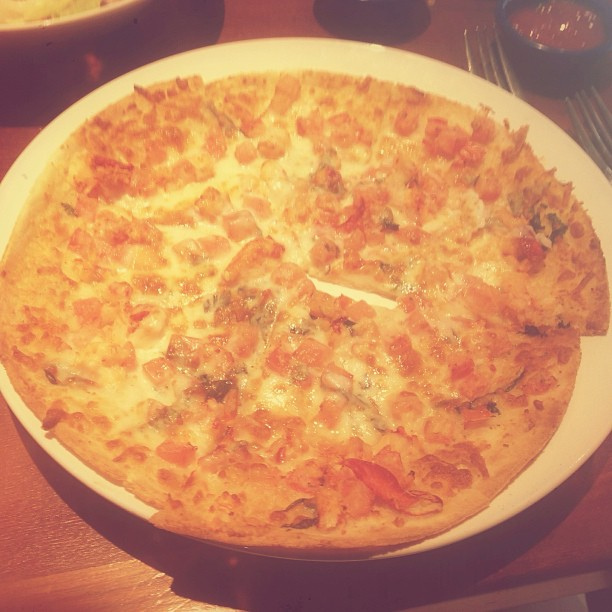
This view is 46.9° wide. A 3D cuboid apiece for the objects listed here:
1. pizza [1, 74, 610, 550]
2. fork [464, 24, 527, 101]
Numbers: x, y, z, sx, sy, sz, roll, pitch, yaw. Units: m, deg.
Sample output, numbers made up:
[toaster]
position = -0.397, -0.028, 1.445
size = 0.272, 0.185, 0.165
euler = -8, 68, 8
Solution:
[pizza]
position = 0.002, -0.035, 0.794
size = 0.675, 0.200, 0.588
euler = 12, 76, 4
[fork]
position = 0.272, -0.340, 0.993
size = 0.023, 0.024, 0.172
euler = -22, 67, 6
